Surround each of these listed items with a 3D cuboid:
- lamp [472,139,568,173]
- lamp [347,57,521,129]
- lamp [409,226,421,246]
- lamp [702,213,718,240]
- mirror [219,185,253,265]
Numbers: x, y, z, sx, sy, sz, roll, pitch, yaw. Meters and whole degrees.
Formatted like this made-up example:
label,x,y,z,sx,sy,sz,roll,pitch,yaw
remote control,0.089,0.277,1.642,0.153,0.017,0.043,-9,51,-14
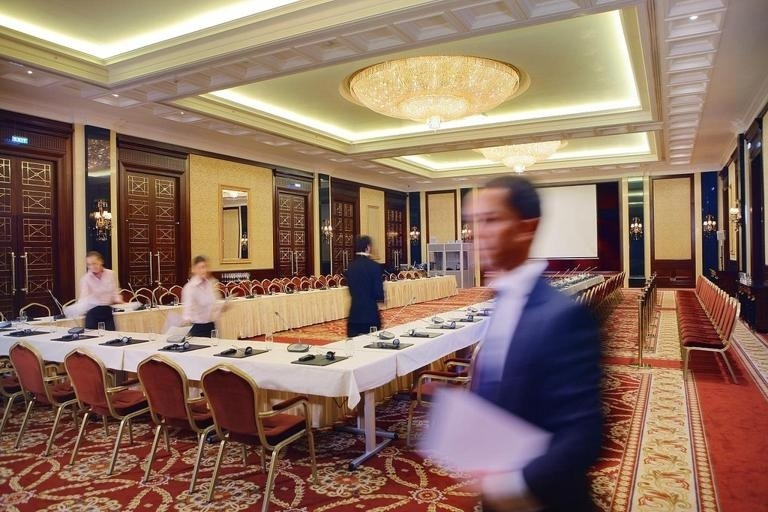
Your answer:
label,x,y,z,sx,sy,sz,roll,pitch,yaw
lamp,3.785,-2.790,13.069,1.893,0.556,1.565,0,2,35
lamp,0.921,-3.068,8.722,3.040,0.942,0.985,-1,2,2
lamp,1.341,-0.903,20.757,0.473,0.797,0.191,-2,3,1
lamp,11.783,-1.071,17.110,0.496,0.881,0.401,-1,3,23
mirror,-4.080,-0.824,12.768,0.165,1.994,0.897,0,3,30
